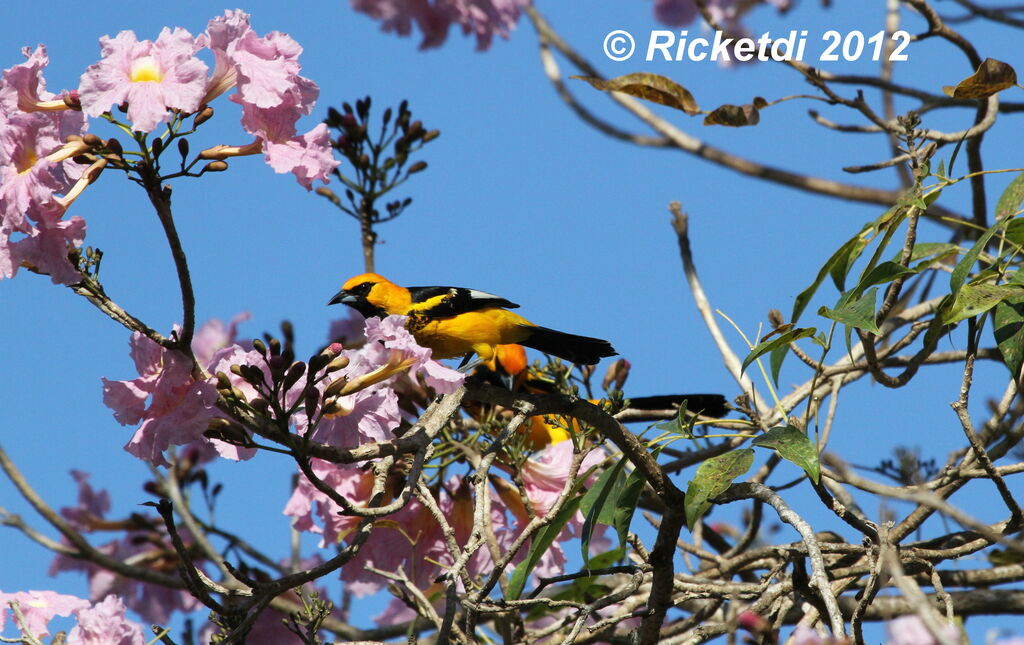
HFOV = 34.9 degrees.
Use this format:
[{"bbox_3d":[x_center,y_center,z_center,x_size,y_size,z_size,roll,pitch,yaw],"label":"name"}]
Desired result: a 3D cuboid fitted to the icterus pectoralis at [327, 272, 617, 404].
[{"bbox_3d":[0.022,0.054,9.323,2.096,0.592,0.738,2,-90,-3],"label":"icterus pectoralis"}]
